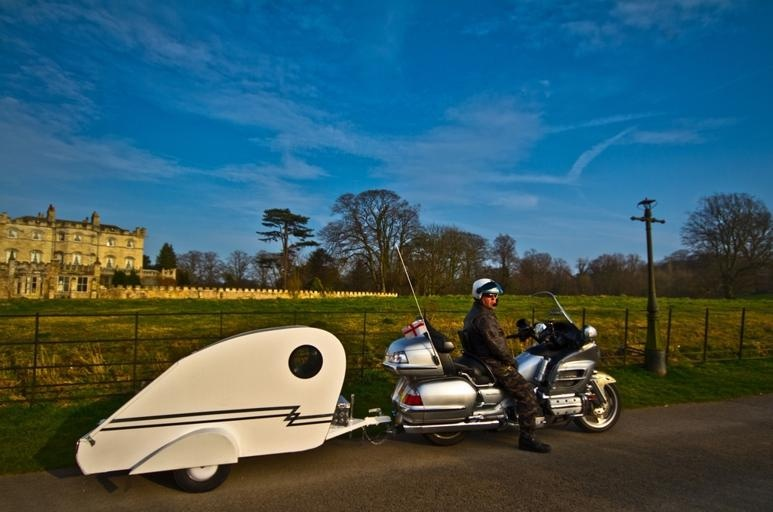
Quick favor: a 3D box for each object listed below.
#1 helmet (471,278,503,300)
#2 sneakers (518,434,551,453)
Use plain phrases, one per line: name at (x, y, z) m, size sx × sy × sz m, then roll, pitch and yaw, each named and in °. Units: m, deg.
helmet at (1.910, 0.595, 9.758) m, size 0.483 × 0.292 × 0.368 m, roll -2°, pitch -2°, yaw 15°
sneakers at (2.712, 3.458, 9.461) m, size 0.535 × 0.241 × 0.270 m, roll 0°, pitch 0°, yaw 11°
